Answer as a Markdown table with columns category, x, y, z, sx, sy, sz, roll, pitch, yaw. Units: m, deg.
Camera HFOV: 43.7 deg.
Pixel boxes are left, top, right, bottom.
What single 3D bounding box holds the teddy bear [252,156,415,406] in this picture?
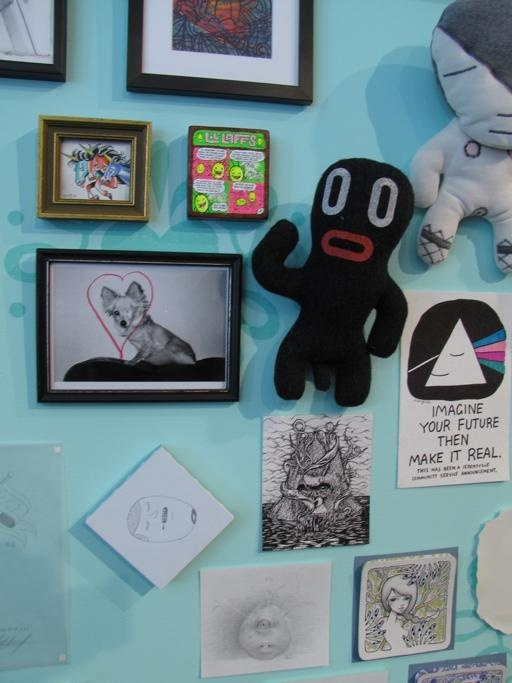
| category | x | y | z | sx | sy | sz | roll | pitch | yaw |
| --- | --- | --- | --- | --- | --- | --- | --- | --- | --- |
| teddy bear | 0.112 | -0.083 | 0.947 | 0.237 | 0.366 | 0.082 | 0 | 12 | -3 |
